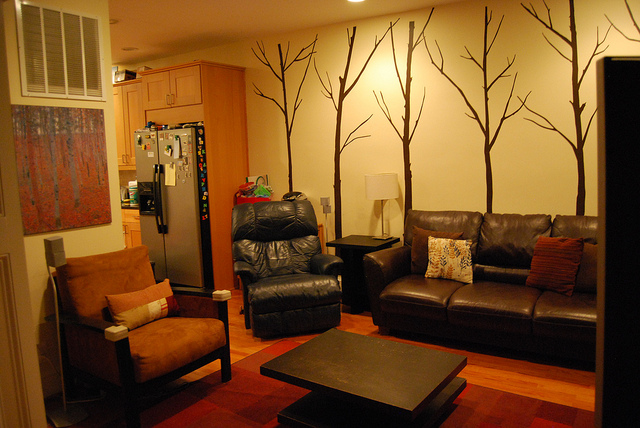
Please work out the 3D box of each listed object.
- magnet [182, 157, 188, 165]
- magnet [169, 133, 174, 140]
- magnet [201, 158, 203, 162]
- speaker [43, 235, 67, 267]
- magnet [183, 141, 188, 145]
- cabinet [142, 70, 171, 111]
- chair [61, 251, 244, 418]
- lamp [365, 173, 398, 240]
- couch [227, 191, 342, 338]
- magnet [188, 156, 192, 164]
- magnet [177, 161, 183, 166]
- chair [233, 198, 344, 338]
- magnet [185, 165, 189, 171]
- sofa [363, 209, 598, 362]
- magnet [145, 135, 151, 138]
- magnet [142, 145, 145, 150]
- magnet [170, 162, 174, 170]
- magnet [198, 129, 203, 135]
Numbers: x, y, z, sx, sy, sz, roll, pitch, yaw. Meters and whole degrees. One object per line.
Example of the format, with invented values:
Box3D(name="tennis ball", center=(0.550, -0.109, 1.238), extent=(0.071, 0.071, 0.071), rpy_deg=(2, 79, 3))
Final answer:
Box3D(name="magnet", center=(-1.630, -0.639, 5.831), extent=(0.079, 0.089, 0.021), rpy_deg=(6, 17, 29))
Box3D(name="magnet", center=(-1.814, -0.939, 5.886), extent=(0.076, 0.073, 0.057), rpy_deg=(5, 14, 19))
Box3D(name="magnet", center=(-1.433, -0.653, 5.854), extent=(0.007, 0.039, 0.033), rpy_deg=(2, 15, 18))
Box3D(name="speaker", center=(-1.969, 0.288, 3.578), extent=(0.123, 0.243, 0.173), rpy_deg=(-14, 18, -38))
Box3D(name="magnet", center=(-1.621, -0.852, 5.783), extent=(0.038, 0.036, 0.014), rpy_deg=(1, 5, 9))
Box3D(name="cabinet", center=(-2.326, -1.637, 6.510), extent=(0.335, 0.512, 0.546), rpy_deg=(-7, 8, 3))
Box3D(name="chair", center=(-1.326, 0.872, 3.925), extent=(1.283, 1.084, 1.183), rpy_deg=(1, 4, 32))
Box3D(name="lamp", center=(0.668, -0.256, 5.213), extent=(0.308, 0.578, 0.295), rpy_deg=(4, 9, 26))
Box3D(name="couch", center=(-0.388, 0.534, 5.079), extent=(1.080, 1.175, 1.237), rpy_deg=(-4, 11, -12))
Box3D(name="magnet", center=(-1.562, -0.641, 5.791), extent=(0.069, 0.089, 0.020), rpy_deg=(10, 19, 39))
Box3D(name="magnet", center=(-1.696, -0.602, 5.868), extent=(0.065, 0.062, 0.045), rpy_deg=(0, 0, 32))
Box3D(name="chair", center=(-0.374, 0.532, 5.104), extent=(1.077, 1.166, 1.193), rpy_deg=(-5, 13, -16))
Box3D(name="magnet", center=(-1.611, -0.548, 5.822), extent=(0.046, 0.045, 0.045), rpy_deg=(-1, 3, -37))
Box3D(name="sofa", center=(1.676, 0.623, 4.418), extent=(2.356, 1.081, 1.031), rpy_deg=(3, 13, 33))
Box3D(name="magnet", center=(-2.162, -0.966, 6.058), extent=(0.046, 0.029, 0.009), rpy_deg=(0, 4, 12))
Box3D(name="magnet", center=(-2.245, -0.839, 6.126), extent=(0.043, 0.077, 0.042), rpy_deg=(2, 1, 4))
Box3D(name="magnet", center=(-1.818, -0.591, 5.917), extent=(0.065, 0.084, 0.019), rpy_deg=(5, 16, 26))
Box3D(name="magnet", center=(-1.445, -0.992, 5.845), extent=(0.012, 0.051, 0.048), rpy_deg=(10, 21, 44))
